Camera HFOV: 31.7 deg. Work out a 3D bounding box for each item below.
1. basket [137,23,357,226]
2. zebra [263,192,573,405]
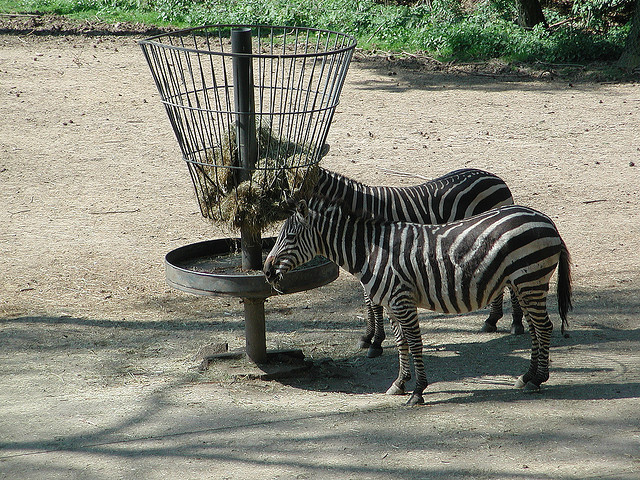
[{"bbox_3d":[-0.664,-1.074,11.046,2.387,1.592,2.028,-2,14,-6],"label":"basket"},{"bbox_3d":[1.087,0.539,10.984,3.384,1.790,0.832,0,-3,23],"label":"zebra"}]
